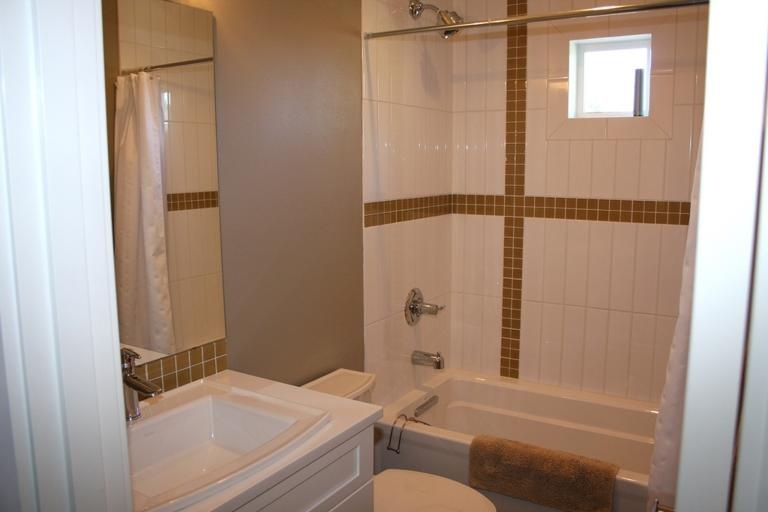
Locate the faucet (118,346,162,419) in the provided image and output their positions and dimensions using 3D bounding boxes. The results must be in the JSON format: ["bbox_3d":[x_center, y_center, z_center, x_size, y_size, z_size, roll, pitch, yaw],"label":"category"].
[{"bbox_3d":[-0.712,0.372,1.714,0.092,0.181,0.220,-5,13,-23],"label":"faucet"}]

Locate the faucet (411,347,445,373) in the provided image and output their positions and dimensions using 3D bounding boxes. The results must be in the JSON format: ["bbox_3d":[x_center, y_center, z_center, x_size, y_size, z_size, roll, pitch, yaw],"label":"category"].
[{"bbox_3d":[0.272,0.543,3.060,0.258,0.118,0.078,1,4,34],"label":"faucet"}]
